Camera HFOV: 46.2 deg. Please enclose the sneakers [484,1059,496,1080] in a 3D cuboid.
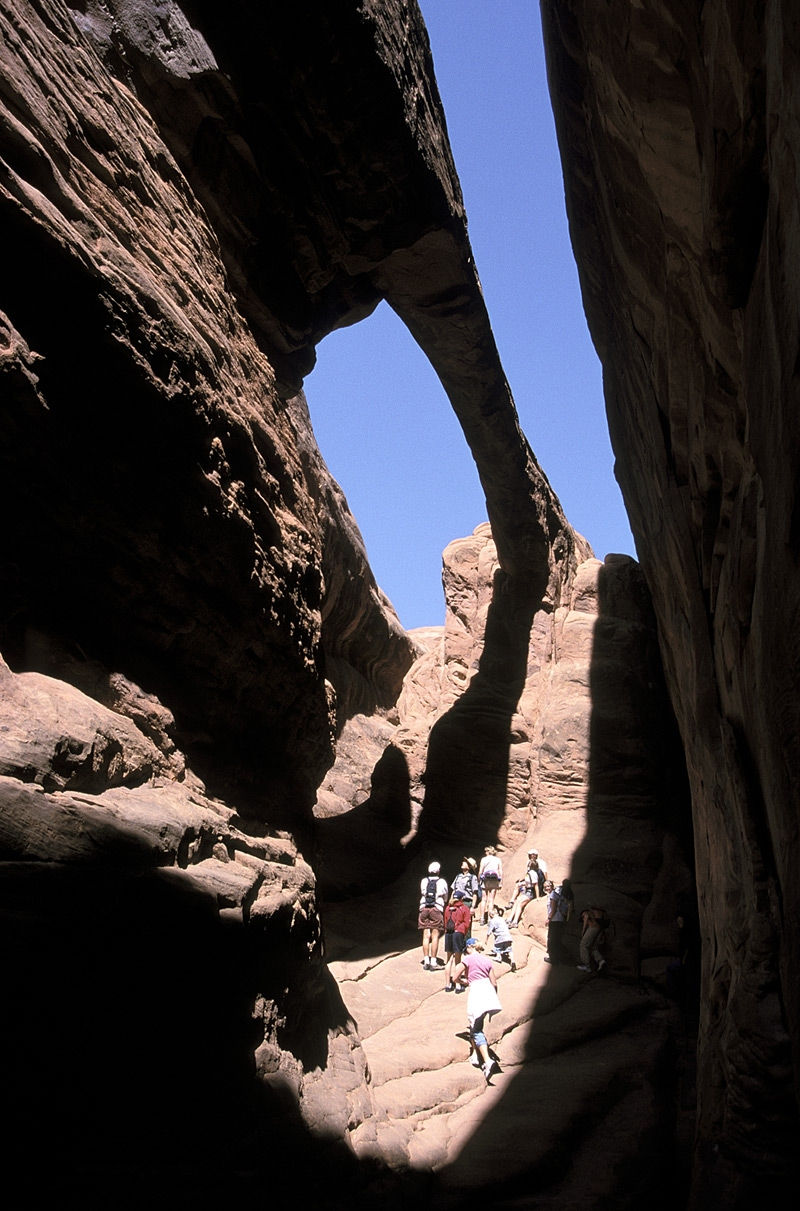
[{"bbox_3d":[0.616,3.157,6.366,0.090,0.145,0.196,6,-22,9],"label":"sneakers"}]
